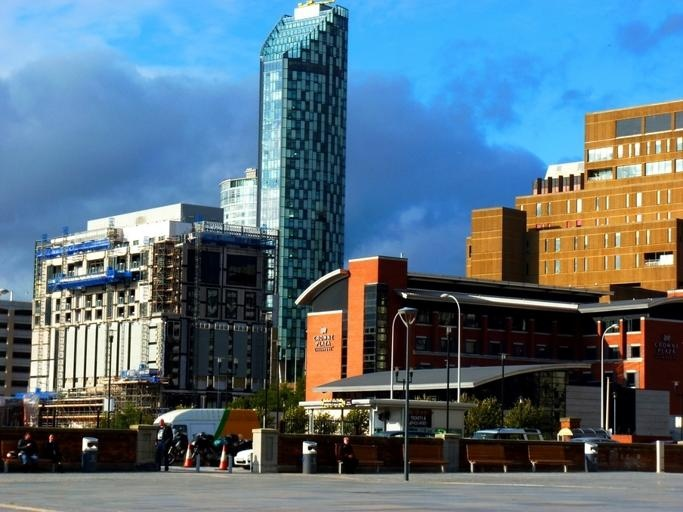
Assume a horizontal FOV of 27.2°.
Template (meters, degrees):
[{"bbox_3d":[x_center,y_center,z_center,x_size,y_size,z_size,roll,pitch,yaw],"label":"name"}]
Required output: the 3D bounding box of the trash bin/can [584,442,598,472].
[{"bbox_3d":[15.950,12.835,89.856,0.716,1.848,0.941,-2,-11,6],"label":"trash bin/can"}]

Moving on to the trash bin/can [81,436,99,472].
[{"bbox_3d":[-14.029,11.115,79.010,0.836,1.985,1.030,1,-12,-13],"label":"trash bin/can"}]

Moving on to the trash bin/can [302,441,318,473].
[{"bbox_3d":[-1.823,11.670,81.735,0.840,1.952,1.546,-1,-11,-3],"label":"trash bin/can"}]
